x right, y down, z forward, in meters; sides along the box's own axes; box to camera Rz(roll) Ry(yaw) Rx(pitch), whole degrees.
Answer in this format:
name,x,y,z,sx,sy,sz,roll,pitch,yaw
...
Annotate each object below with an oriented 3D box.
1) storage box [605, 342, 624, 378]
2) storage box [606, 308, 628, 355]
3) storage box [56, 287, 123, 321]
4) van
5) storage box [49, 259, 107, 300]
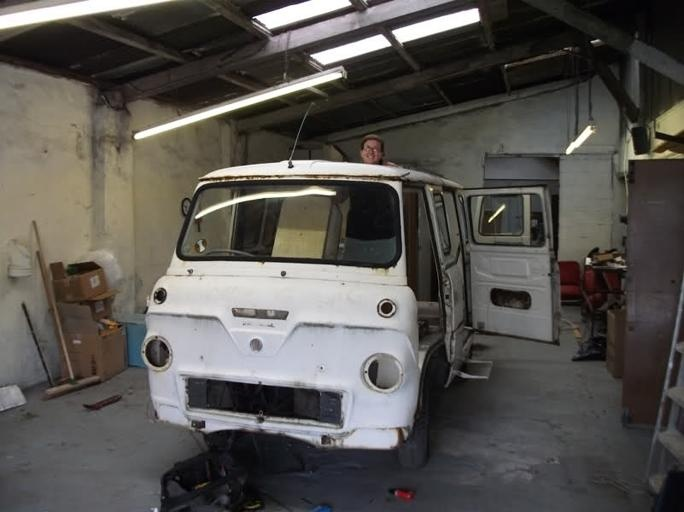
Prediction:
name,x,y,z,sx,sy,sz,roll,pitch,yaw
storage box,3.827,1.443,8.463,0.227,0.478,0.469,-1,3,16
storage box,3.827,1.096,8.469,0.226,0.622,0.600,6,16,24
storage box,-3.625,0.697,8.504,0.477,0.334,0.491,1,0,12
van,0.279,0.299,7.196,3.456,2.175,4.195,3,8,21
storage box,-3.676,0.367,8.564,0.483,0.687,0.671,-3,8,13
